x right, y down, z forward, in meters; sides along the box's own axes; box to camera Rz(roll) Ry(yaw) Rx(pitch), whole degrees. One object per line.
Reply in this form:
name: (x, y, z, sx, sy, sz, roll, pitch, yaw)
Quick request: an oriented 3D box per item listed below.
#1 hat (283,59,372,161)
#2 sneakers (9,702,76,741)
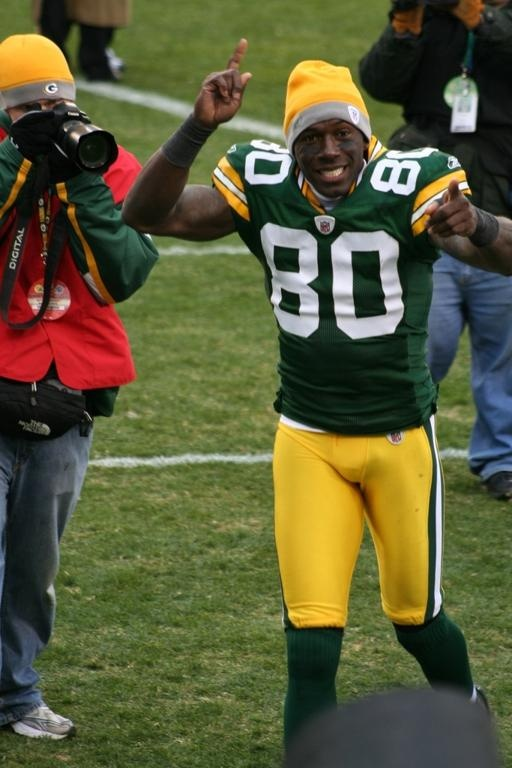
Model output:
hat: (0.142, -0.639, 2.253, 0.209, 0.200, 0.236, -9, 27, -6)
sneakers: (-0.576, 0.928, 2.632, 0.180, 0.072, 0.066, 1, 86, 2)
